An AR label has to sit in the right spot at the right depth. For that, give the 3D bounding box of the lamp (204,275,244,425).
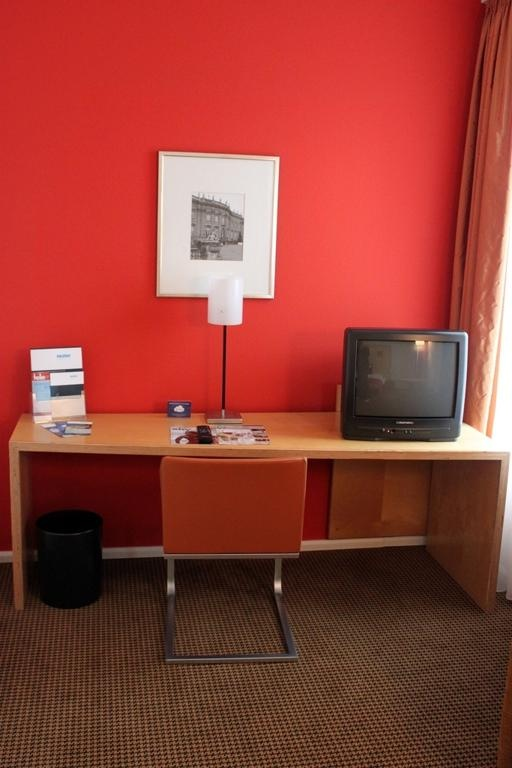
[{"bbox_3d":[-0.124,-0.141,2.444,0.150,0.600,0.341,2,6,-3],"label":"lamp"}]

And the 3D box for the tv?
[{"bbox_3d":[0.497,0.028,2.405,0.612,0.625,0.376,0,7,-2],"label":"tv"}]

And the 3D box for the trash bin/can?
[{"bbox_3d":[-0.684,0.666,2.325,0.290,0.359,0.311,1,4,-1],"label":"trash bin/can"}]

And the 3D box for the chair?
[{"bbox_3d":[-0.081,0.550,1.994,0.464,0.715,0.440,2,6,-5],"label":"chair"}]

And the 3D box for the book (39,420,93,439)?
[{"bbox_3d":[-0.723,0.170,2.245,0.187,0.020,0.245,0,7,-21],"label":"book"}]

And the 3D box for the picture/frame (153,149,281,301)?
[{"bbox_3d":[-0.178,-0.676,2.416,0.614,0.768,0.026,0,17,-10],"label":"picture/frame"}]
